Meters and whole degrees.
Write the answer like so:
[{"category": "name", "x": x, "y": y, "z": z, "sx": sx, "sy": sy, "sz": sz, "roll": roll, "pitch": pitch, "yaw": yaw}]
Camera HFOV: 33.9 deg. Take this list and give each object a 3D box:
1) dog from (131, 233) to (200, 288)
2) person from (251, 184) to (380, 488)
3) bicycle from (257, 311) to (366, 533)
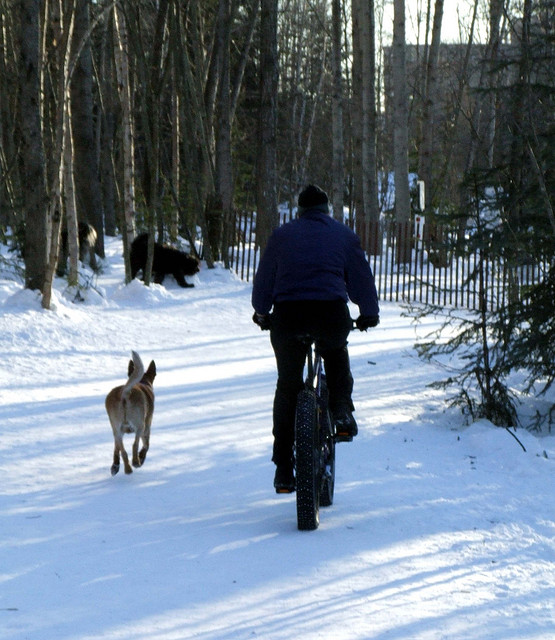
[{"category": "dog", "x": -2.510, "y": -1.305, "z": 20.159, "sx": 1.455, "sy": 1.067, "sz": 0.968, "roll": 2, "pitch": 7, "yaw": 2}, {"category": "person", "x": 0.332, "y": 0.153, "z": 6.539, "sx": 0.658, "sy": 2.259, "sz": 0.839, "roll": 1, "pitch": -8, "yaw": 3}, {"category": "bicycle", "x": 0.259, "y": 0.878, "z": 6.477, "sx": 0.534, "sy": 1.078, "sz": 1.535, "roll": -2, "pitch": -26, "yaw": 3}]
